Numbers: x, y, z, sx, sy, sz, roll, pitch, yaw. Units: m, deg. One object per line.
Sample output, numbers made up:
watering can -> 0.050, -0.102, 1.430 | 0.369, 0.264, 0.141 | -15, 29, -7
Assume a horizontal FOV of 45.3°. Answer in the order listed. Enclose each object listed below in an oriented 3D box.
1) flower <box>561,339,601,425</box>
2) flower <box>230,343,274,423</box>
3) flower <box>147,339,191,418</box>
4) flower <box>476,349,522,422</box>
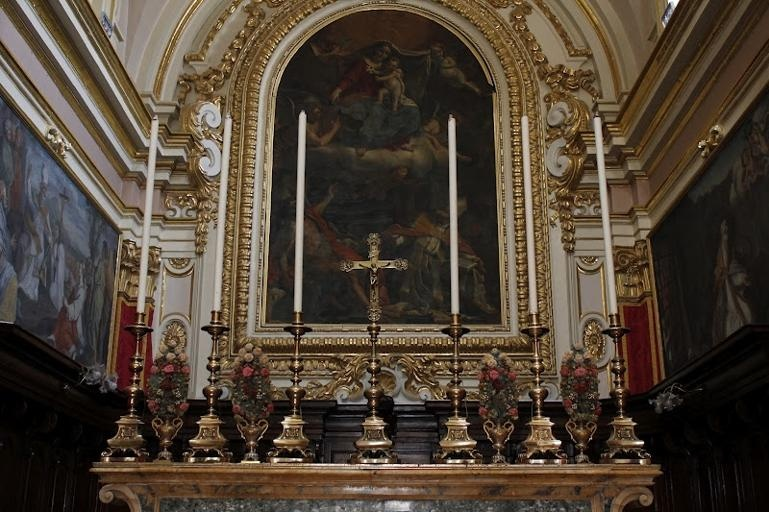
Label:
flower -> 1.603, 1.062, 7.647 | 0.320, 0.597, 0.231 | -5, -12, 11
flower -> -1.101, 1.030, 7.659 | 0.338, 0.651, 0.435 | 3, -27, -8
flower -> -1.774, 1.019, 7.592 | 0.306, 0.572, 0.300 | 7, -27, -16
flower -> 0.919, 1.032, 7.537 | 0.321, 0.666, 0.364 | -3, -26, 5
